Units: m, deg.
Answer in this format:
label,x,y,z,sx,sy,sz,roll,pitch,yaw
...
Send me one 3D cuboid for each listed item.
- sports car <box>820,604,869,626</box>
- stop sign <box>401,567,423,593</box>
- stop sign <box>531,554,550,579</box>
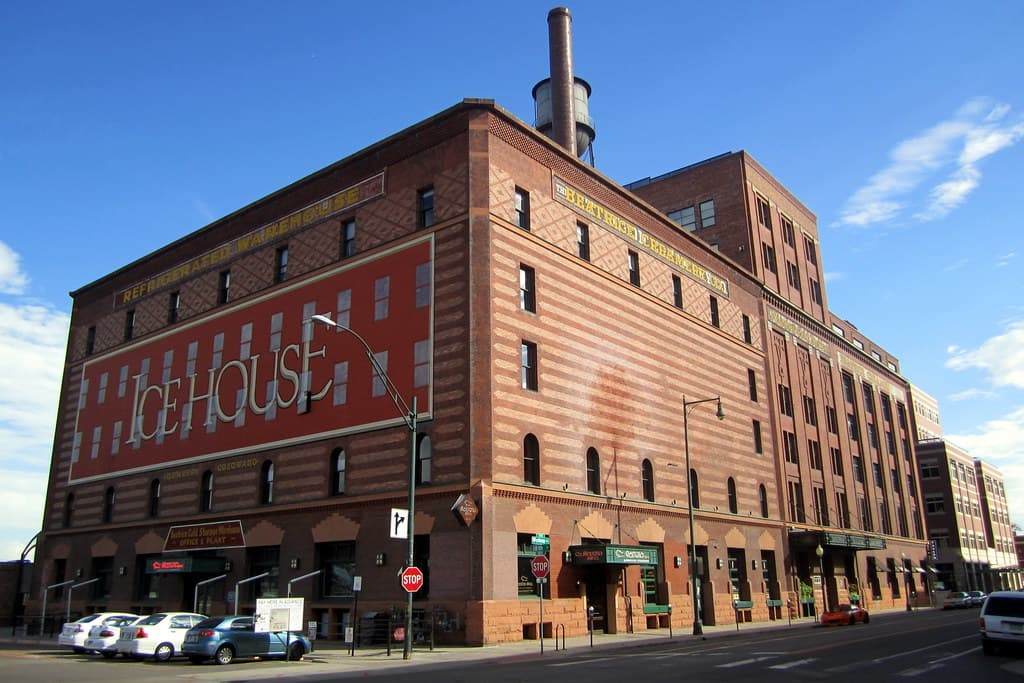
label,x,y,z,sx,sy,sz,roll,pitch,yaw
sports car,24.416,20.092,53.541,3.871,1.201,2.250,2,-10,-44
stop sign,-4.734,11.273,34.604,0.773,1.235,1.102,-6,-25,5
stop sign,1.465,11.274,36.437,0.716,0.997,0.363,7,-27,-20
